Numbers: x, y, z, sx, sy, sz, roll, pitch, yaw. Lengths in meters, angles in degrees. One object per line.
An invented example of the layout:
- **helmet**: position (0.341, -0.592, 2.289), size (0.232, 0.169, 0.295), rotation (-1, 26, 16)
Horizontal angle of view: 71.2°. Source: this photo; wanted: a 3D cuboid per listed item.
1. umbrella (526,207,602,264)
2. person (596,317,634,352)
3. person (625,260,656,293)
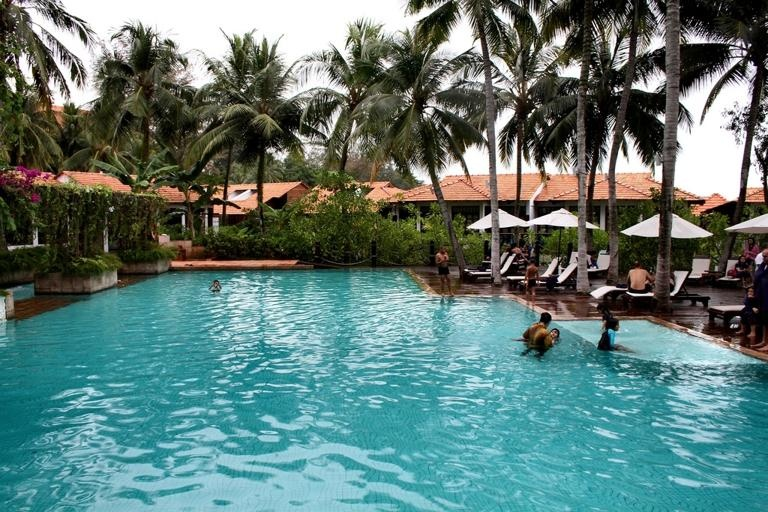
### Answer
- **umbrella**: position (8.617, -0.522, 26.279), size (3.481, 2.439, 3.401), rotation (-9, 12, -43)
- **person**: position (5.920, 2.024, 13.647), size (0.936, 1.055, 0.629), rotation (-9, 16, -20)
- **person**: position (8.841, 0.738, 18.484), size (0.852, 1.116, 1.119), rotation (9, 13, 30)
